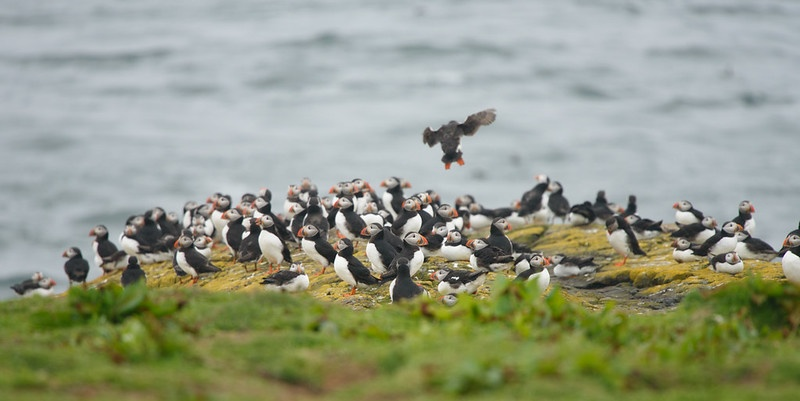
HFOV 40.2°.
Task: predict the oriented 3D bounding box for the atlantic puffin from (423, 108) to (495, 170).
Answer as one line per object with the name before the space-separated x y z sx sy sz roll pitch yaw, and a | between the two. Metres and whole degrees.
atlantic puffin | 1.646 -1.635 31.034 2.152 1.655 0.573 1 16 24
